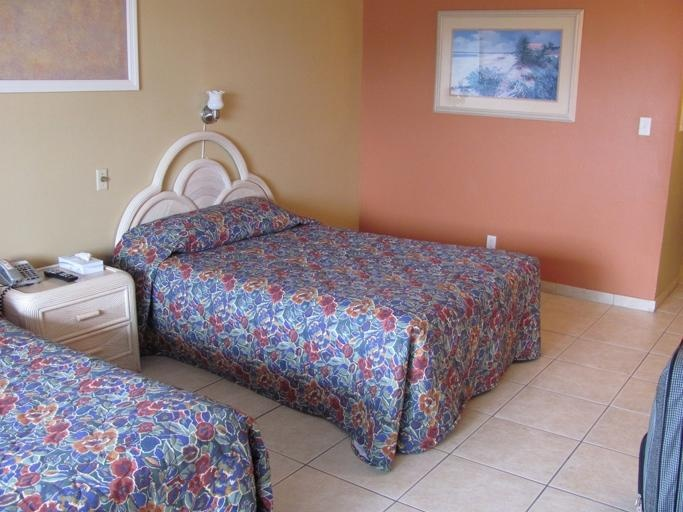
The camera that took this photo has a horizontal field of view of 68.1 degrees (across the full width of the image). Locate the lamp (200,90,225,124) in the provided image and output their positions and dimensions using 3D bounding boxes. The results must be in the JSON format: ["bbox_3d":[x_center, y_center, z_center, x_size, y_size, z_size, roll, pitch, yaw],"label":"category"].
[{"bbox_3d":[-0.956,-1.146,3.905,0.149,0.266,0.238,7,19,17],"label":"lamp"}]

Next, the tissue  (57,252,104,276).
[{"bbox_3d":[-1.610,0.047,3.130,0.213,0.062,0.161,15,22,32],"label":"tissue "}]

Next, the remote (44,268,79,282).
[{"bbox_3d":[-1.665,0.121,3.022,0.154,0.036,0.046,13,24,27],"label":"remote"}]

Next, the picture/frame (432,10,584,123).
[{"bbox_3d":[1.484,-1.664,4.364,1.119,0.766,0.040,11,18,32],"label":"picture/frame"}]

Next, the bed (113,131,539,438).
[{"bbox_3d":[-0.103,0.144,3.209,1.752,0.990,1.719,15,27,30],"label":"bed"}]
